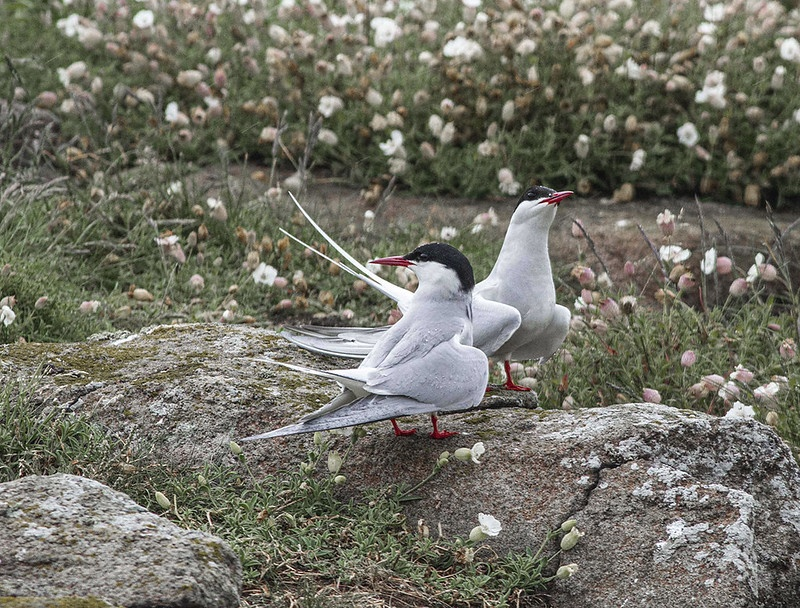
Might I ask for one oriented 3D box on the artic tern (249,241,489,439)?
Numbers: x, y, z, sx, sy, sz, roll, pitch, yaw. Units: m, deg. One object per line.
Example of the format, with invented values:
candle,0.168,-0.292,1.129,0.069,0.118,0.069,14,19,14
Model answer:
artic tern,-0.186,0.220,7.551,1.520,1.077,0.712,-4,3,-42
